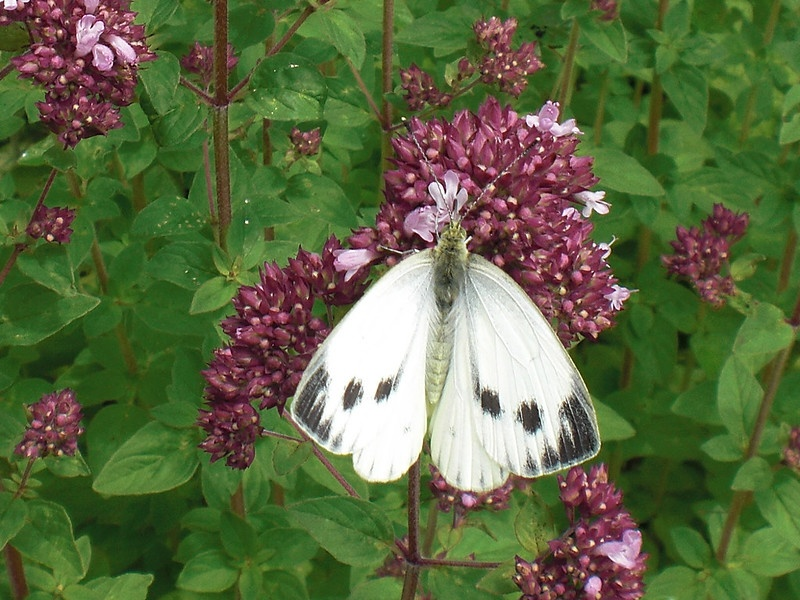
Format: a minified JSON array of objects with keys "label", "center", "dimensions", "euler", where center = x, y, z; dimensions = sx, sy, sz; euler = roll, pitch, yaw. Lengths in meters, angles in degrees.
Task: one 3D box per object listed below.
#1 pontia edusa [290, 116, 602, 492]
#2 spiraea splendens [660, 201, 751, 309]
[{"label":"pontia edusa","center":[0.141,0.131,3.187],"dimensions":[1.007,0.975,0.598],"euler":[-6,27,9]},{"label":"spiraea splendens","center":[1.332,-0.212,3.987],"dimensions":[0.354,0.484,0.356],"euler":[6,30,16]}]
